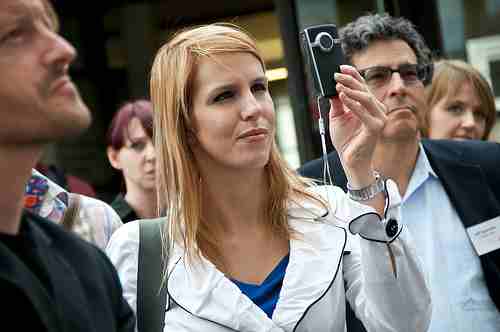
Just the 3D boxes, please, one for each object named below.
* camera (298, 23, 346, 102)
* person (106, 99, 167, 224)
[{"bbox_3d":[0.517,-0.761,3.902,0.264,0.551,0.119,-9,-4,-16],"label":"camera"},{"bbox_3d":[-1.076,-0.031,5.579,0.527,1.359,0.712,2,-10,-7],"label":"person"}]
